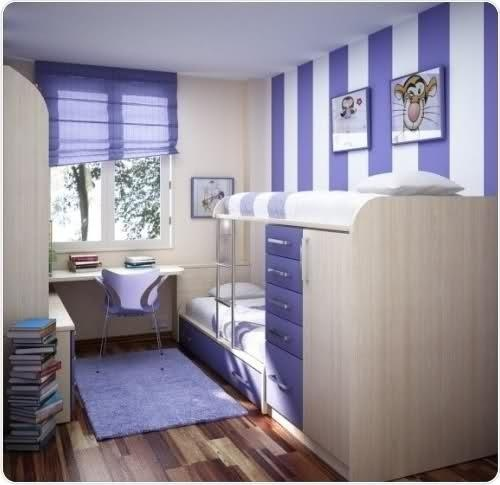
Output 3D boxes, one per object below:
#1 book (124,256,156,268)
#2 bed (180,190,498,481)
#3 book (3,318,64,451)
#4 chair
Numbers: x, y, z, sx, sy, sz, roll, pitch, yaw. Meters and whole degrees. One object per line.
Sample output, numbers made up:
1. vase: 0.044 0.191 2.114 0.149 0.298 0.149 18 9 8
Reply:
1. book: -1.046 0.188 4.146 0.300 0.101 0.269 -2 4 -19
2. bed: 0.484 0.520 2.250 0.500 0.895 1.345 1 1 -17
3. book: -1.160 0.755 2.296 0.218 0.641 0.604 0 -1 -7
4. chair: -1.025 0.521 3.754 0.507 0.806 0.513 -4 19 -25
